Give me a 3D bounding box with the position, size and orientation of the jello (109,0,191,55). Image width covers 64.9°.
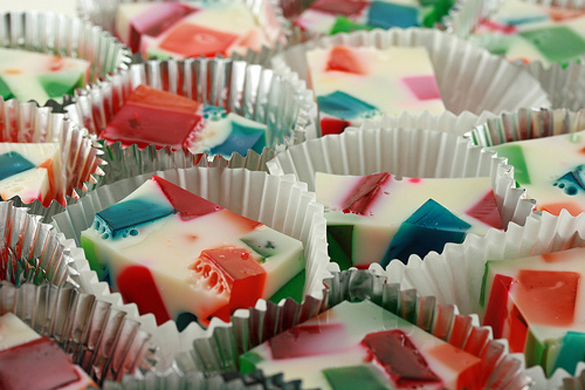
[{"bbox_3d":[-0.670,-0.841,2.191,0.325,0.085,0.278,-22,47,-30],"label":"jello"}]

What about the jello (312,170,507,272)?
[{"bbox_3d":[0.338,0.084,1.419,0.513,0.164,0.271,-2,45,0],"label":"jello"}]

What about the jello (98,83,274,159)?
[{"bbox_3d":[-0.390,-0.261,1.721,0.478,0.112,0.285,9,45,-4],"label":"jello"}]
